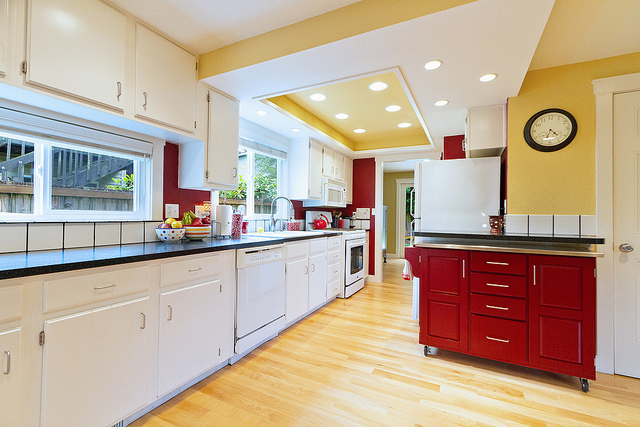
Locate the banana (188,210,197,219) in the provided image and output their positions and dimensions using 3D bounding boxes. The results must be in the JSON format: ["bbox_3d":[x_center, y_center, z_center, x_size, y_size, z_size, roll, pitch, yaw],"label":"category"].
[{"bbox_3d":[-1.238,-0.007,4.287,0.054,0.042,0.147,7,-6,-9],"label":"banana"}]

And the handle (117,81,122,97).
[{"bbox_3d":[-1.596,-0.996,3.541,0.039,0.125,0.012,-4,8,-34],"label":"handle"}]

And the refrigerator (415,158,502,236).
[{"bbox_3d":[1.610,-0.174,5.180,0.960,1.359,0.768,1,0,27],"label":"refrigerator"}]

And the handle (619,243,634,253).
[{"bbox_3d":[2.671,0.291,3.875,0.097,0.071,0.044,14,-7,27],"label":"handle"}]

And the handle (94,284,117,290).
[{"bbox_3d":[-1.544,0.517,3.182,0.139,0.022,0.015,-3,-11,-37],"label":"handle"}]

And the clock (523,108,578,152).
[{"bbox_3d":[2.151,-0.774,4.099,0.429,0.407,0.044,-4,-5,28],"label":"clock"}]

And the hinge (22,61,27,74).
[{"bbox_3d":[-2.116,-1.050,3.184,0.029,0.081,0.011,-1,7,-15],"label":"hinge"}]

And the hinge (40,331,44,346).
[{"bbox_3d":[-1.871,0.831,2.988,0.022,0.090,0.015,-1,7,-13],"label":"hinge"}]

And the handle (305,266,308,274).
[{"bbox_3d":[-0.147,0.609,4.878,0.011,0.088,0.051,4,7,23],"label":"handle"}]

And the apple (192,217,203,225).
[{"bbox_3d":[-1.159,0.064,4.181,0.069,0.050,0.070,0,-13,5],"label":"apple"}]

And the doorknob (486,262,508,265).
[{"bbox_3d":[1.571,0.429,3.909,0.194,0.024,0.021,3,-3,22],"label":"doorknob"}]

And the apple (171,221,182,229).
[{"bbox_3d":[-1.287,0.096,3.988,0.091,0.060,0.094,-1,7,-16],"label":"apple"}]

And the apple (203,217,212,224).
[{"bbox_3d":[-1.094,0.056,4.284,0.042,0.054,0.045,-1,-21,29],"label":"apple"}]

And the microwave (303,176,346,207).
[{"bbox_3d":[0.094,-0.292,6.340,0.399,0.383,0.822,3,0,22],"label":"microwave"}]

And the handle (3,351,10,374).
[{"bbox_3d":[-2.045,0.966,2.900,0.030,0.149,0.018,-1,7,-16],"label":"handle"}]

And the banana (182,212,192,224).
[{"bbox_3d":[-1.250,0.038,4.187,0.059,0.106,0.036,0,-9,-16],"label":"banana"}]

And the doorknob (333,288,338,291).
[{"bbox_3d":[0.187,0.928,5.528,0.071,0.036,0.065,10,-12,-36],"label":"doorknob"}]

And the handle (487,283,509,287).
[{"bbox_3d":[1.575,0.621,3.907,0.189,0.024,0.025,3,47,19],"label":"handle"}]

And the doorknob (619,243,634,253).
[{"bbox_3d":[2.674,0.293,3.874,0.093,0.071,0.041,12,-9,26],"label":"doorknob"}]

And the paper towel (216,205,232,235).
[{"bbox_3d":[-0.951,0.058,4.437,0.176,0.294,0.102,-2,7,-25],"label":"paper towel"}]

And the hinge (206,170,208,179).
[{"bbox_3d":[-1.058,-0.373,4.161,0.014,0.058,0.008,-2,7,-26],"label":"hinge"}]

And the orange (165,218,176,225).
[{"bbox_3d":[-1.355,0.062,4.005,0.056,0.034,0.063,7,14,-3],"label":"orange"}]

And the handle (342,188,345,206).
[{"bbox_3d":[0.344,-0.202,6.464,0.026,0.231,0.057,-3,-2,40],"label":"handle"}]

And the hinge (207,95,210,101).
[{"bbox_3d":[-1.042,-1.088,4.157,0.007,0.053,0.023,7,9,41],"label":"hinge"}]

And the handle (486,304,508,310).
[{"bbox_3d":[1.568,0.813,3.903,0.189,0.027,0.036,6,47,24],"label":"handle"}]

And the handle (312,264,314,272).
[{"bbox_3d":[-0.075,0.607,5.011,0.010,0.089,0.041,3,7,17],"label":"handle"}]

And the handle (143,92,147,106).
[{"bbox_3d":[-1.450,-0.953,3.682,0.010,0.110,0.038,5,8,35],"label":"handle"}]
